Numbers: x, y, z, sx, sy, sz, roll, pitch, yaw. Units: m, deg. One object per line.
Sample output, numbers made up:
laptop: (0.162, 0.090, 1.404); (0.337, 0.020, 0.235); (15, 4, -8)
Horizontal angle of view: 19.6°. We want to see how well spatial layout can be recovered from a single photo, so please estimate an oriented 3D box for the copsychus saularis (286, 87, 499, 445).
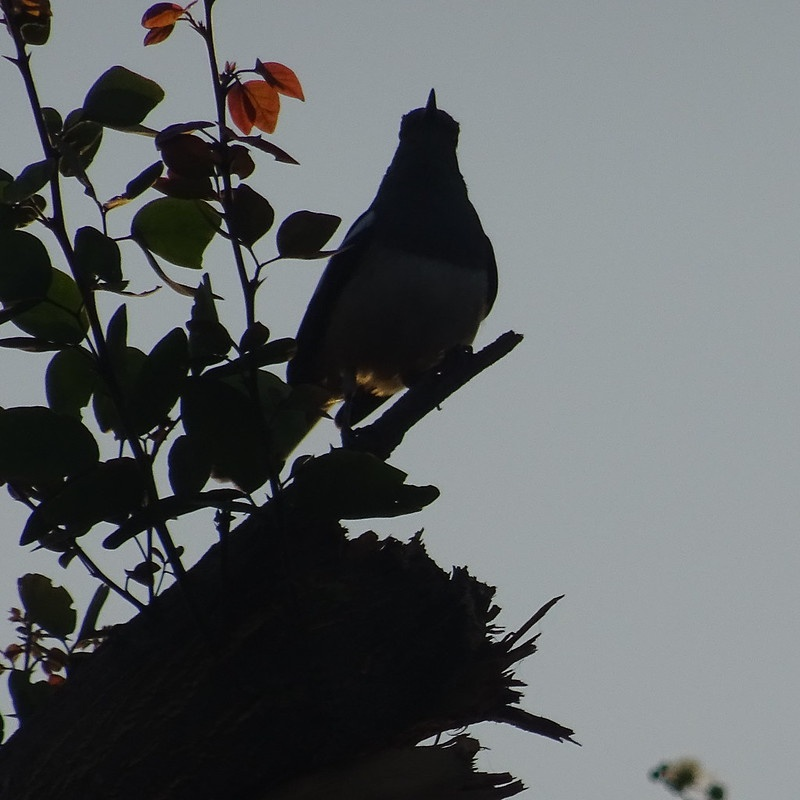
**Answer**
copsychus saularis: (-0.016, -0.087, 1.900); (0.131, 0.226, 0.340); (4, -19, -22)
